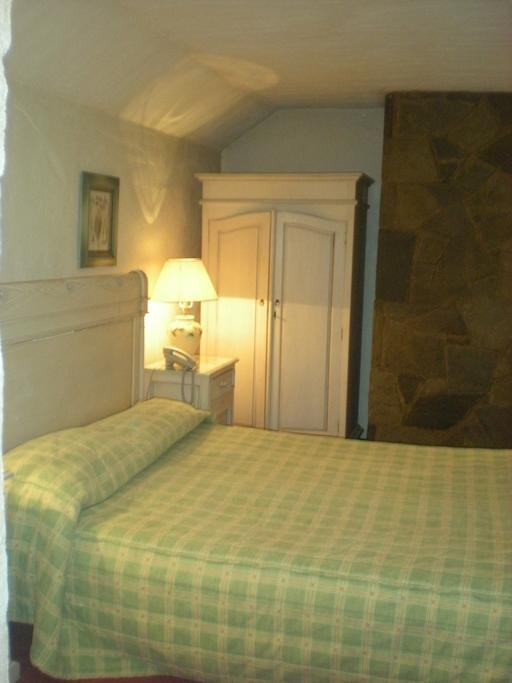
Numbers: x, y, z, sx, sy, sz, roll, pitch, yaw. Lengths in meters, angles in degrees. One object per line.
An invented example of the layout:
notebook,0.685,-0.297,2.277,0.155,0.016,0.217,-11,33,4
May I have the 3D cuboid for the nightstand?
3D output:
nightstand,-0.396,0.160,3.631,0.411,0.551,0.606,8,10,18
